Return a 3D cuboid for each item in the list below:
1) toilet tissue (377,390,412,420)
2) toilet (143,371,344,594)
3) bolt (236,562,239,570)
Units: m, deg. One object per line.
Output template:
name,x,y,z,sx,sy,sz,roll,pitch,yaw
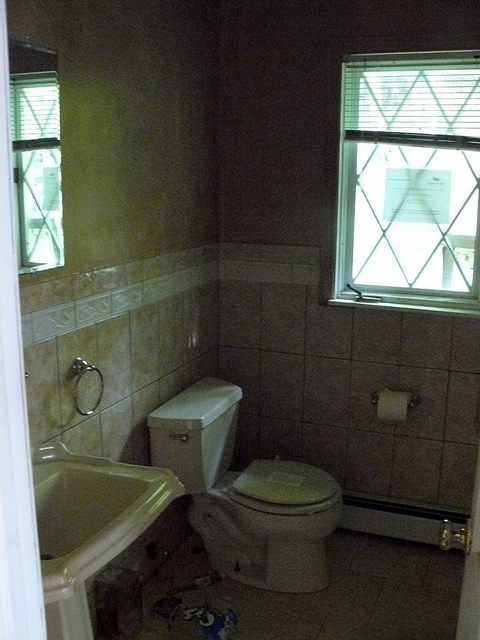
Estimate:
toilet tissue,0.711,0.395,2.669,0.169,0.150,0.122,-11,-35,13
toilet,0.066,0.760,2.525,0.777,0.756,0.626,6,12,24
bolt,-0.011,1.074,2.496,0.016,0.035,0.005,6,10,33
